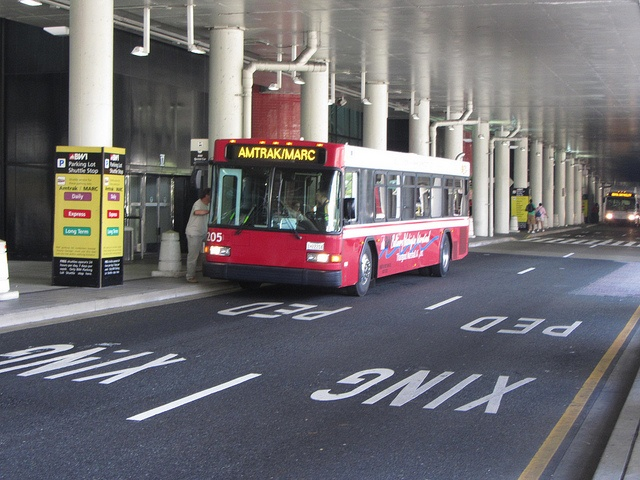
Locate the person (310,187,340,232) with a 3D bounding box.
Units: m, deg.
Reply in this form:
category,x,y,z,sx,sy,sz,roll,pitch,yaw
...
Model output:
category,x,y,z,sx,sy,sz,roll,pitch,yaw
person,0.138,-0.655,13.767,0.543,0.934,0.209,1,4,-8
